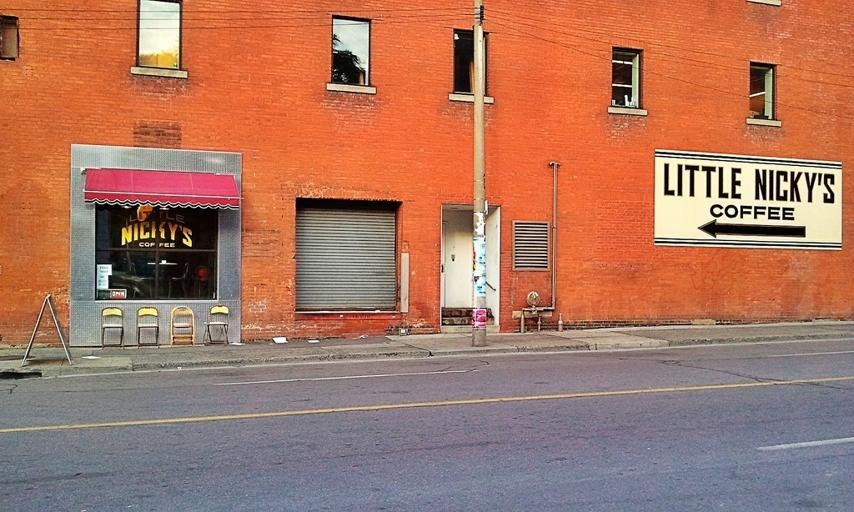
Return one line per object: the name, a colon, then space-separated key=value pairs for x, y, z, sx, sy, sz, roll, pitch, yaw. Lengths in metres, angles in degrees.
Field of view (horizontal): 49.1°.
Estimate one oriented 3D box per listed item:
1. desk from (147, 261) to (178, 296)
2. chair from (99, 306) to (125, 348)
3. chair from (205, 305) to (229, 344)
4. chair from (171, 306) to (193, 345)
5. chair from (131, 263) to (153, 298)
desk: x=-8.160 y=0.703 z=29.032 sx=1.183 sy=1.058 sz=1.046 roll=2 pitch=-5 yaw=-16
chair: x=-9.564 y=2.121 z=28.364 sx=0.685 sy=1.180 sz=0.469 roll=-3 pitch=12 yaw=-14
chair: x=-6.554 y=2.106 z=29.119 sx=0.748 sy=1.139 sz=0.302 roll=-2 pitch=12 yaw=-11
chair: x=-7.536 y=2.131 z=28.886 sx=0.744 sy=1.149 sz=0.439 roll=-2 pitch=12 yaw=-13
chair: x=-8.756 y=0.730 z=28.896 sx=0.565 sy=1.077 sz=0.306 roll=-3 pitch=12 yaw=-15
